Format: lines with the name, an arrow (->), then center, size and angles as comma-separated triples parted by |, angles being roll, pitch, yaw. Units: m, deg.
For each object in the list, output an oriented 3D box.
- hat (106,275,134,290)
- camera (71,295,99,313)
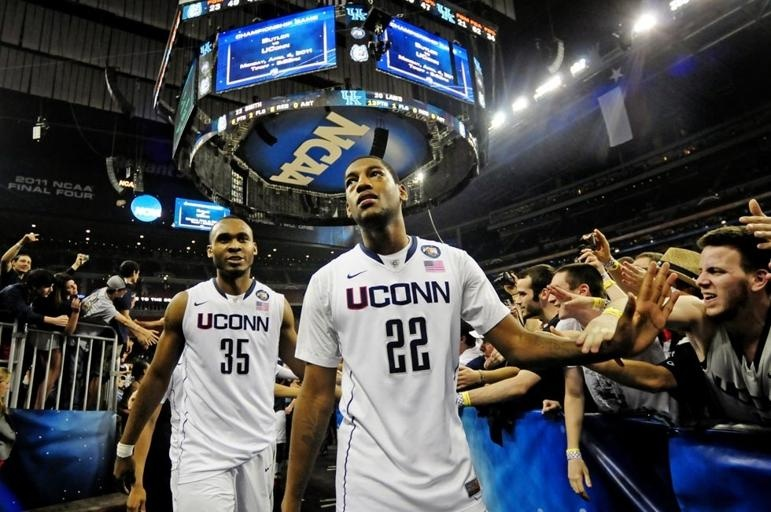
hat -> -4.630, 0.455, 9.207 | 0.216, 0.164, 0.320 | 12, 24, 31
camera -> -4.757, 0.761, 8.452 | 0.508, 0.377, 0.194 | -4, -51, 48
